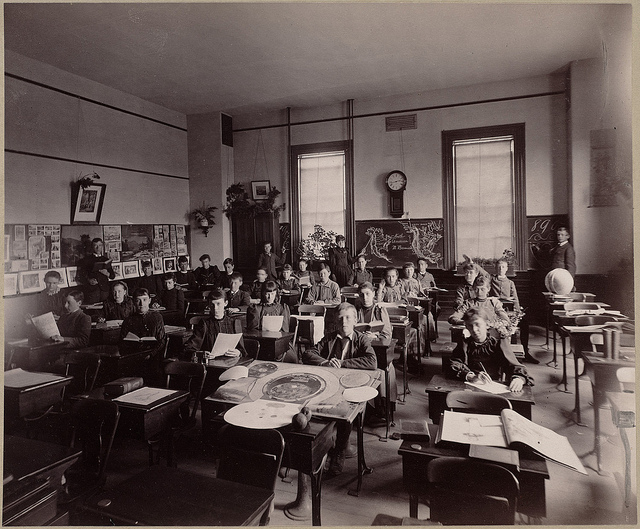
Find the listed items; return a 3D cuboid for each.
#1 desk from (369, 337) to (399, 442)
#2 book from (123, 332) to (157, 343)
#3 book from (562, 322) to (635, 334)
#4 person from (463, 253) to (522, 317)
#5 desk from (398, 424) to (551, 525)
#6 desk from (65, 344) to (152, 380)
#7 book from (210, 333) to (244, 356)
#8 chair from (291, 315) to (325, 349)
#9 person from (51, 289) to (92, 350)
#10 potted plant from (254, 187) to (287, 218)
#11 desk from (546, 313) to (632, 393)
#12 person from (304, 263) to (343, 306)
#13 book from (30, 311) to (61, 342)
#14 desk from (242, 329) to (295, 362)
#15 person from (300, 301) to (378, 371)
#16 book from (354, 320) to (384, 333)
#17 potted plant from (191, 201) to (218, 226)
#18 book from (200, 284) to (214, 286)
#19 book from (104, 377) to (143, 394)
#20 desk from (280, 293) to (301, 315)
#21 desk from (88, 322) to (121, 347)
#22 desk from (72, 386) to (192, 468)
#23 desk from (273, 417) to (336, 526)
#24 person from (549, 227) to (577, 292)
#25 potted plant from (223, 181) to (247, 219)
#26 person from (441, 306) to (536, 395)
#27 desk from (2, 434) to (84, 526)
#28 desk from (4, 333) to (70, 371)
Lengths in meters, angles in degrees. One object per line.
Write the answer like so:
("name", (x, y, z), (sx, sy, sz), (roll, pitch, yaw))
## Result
("desk", (0.582, 1.104, 4.736), (0.234, 0.809, 0.745), (-1, 2, 8))
("book", (-1.762, 0.723, 5.025), (0.327, 0.083, 0.163), (-1, 2, 8))
("book", (2.566, 0.576, 4.655), (0.255, 0.064, 0.274), (2, -2, -38))
("person", (2.355, 0.408, 6.763), (0.644, 1.168, 0.349), (2, -16, 16))
("desk", (0.898, 1.200, 2.941), (0.607, 0.394, 0.635), (0, -3, 20))
("desk", (-1.915, 0.866, 4.798), (0.417, 0.268, 0.423), (1, 0, 29))
("book", (-0.851, 0.716, 4.603), (0.325, 0.171, 0.191), (-2, 3, -29))
("chair", (-0.144, 0.777, 6.225), (0.457, 0.445, 0.374), (0, -3, 26))
("person", (-2.584, 0.571, 5.301), (0.335, 0.534, 1.336), (-2, 3, -25))
("potted plant", (-0.901, -1.129, 9.279), (0.594, 0.525, 0.356), (-1, 2, -8))
("desk", (2.718, 0.887, 5.256), (0.736, 0.572, 0.760), (0, -1, 16))
("person", (0.054, 0.345, 7.479), (0.695, 0.725, 0.501), (1, 2, 16))
("book", (-2.586, 0.577, 4.819), (0.215, 0.296, 0.104), (-19, 2, -1))
("desk", (-0.514, 0.807, 5.344), (0.392, 0.212, 0.304), (3, 6, 27))
("person", (0.196, 0.661, 4.452), (0.646, 0.986, 0.555), (1, -7, 8))
("book", (0.510, 0.646, 5.222), (0.284, 0.084, 0.284), (-1, 2, 8))
("potted plant", (-2.129, -0.946, 9.543), (0.404, 0.401, 0.410), (0, -1, 25))
("book", (-1.938, 0.348, 8.725), (0.333, 0.020, 0.142), (0, 3, 30))
("book", (-1.506, 0.920, 3.910), (0.212, 0.065, 0.361), (0, 2, 18))
("desk", (-0.457, 0.582, 7.671), (0.273, 0.268, 0.269), (5, 8, 44))
("desk", (-2.346, 0.695, 5.502), (0.187, 0.251, 0.331), (1, 4, 8))
("desk", (-1.351, 1.020, 3.690), (0.650, 0.622, 0.510), (3, 7, 28))
("desk", (-0.071, 1.371, 3.274), (0.221, 0.748, 0.421), (1, 3, 35))
("person", (3.183, -0.099, 6.652), (0.273, 0.800, 1.463), (0, 3, 25))
("potted plant", (-1.606, -1.293, 9.595), (0.400, 0.552, 0.415), (-15, 15, 15))
("person", (1.335, 0.673, 4.226), (0.720, 0.661, 0.487), (-6, 11, 30))
("desk", (-1.635, 1.212, 2.947), (0.512, 0.257, 0.417), (-1, -5, 18))
("desk", (-2.628, 0.771, 4.676), (0.408, 0.390, 0.311), (4, 5, 26))
